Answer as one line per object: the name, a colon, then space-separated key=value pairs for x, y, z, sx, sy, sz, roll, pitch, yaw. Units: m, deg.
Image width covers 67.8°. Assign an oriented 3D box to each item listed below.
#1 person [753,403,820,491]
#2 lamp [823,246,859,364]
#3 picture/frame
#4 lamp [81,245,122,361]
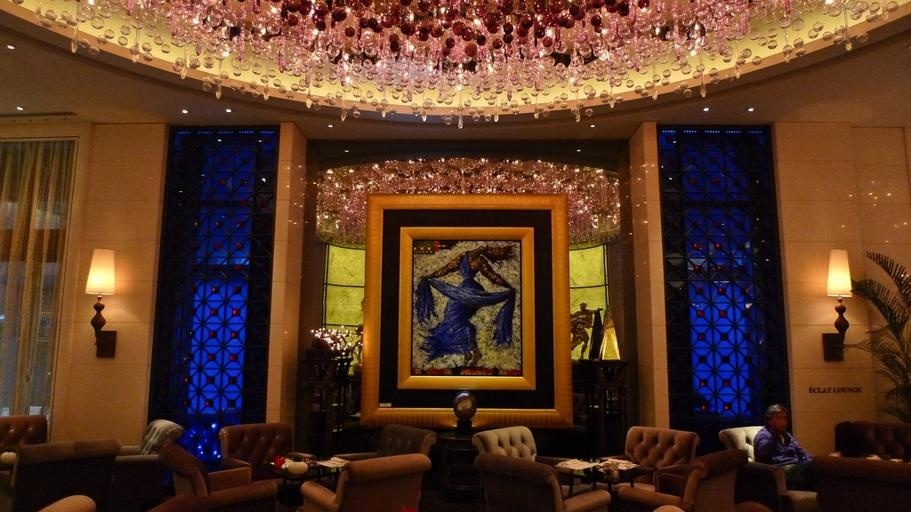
person: x=5.057 y=2.878 z=10.302 sx=0.680 sy=0.985 sz=0.954 roll=3 pitch=-5 yaw=-21
lamp: x=6.690 y=0.860 z=11.862 sx=0.597 sy=1.954 sz=0.319 roll=-1 pitch=-8 yaw=9
picture/frame: x=0.205 y=1.086 z=12.308 sx=3.434 sy=3.648 sz=0.166 roll=0 pitch=-10 yaw=0
lamp: x=-6.289 y=0.831 z=11.962 sx=0.497 sy=1.922 sz=0.357 roll=1 pitch=-8 yaw=-12
